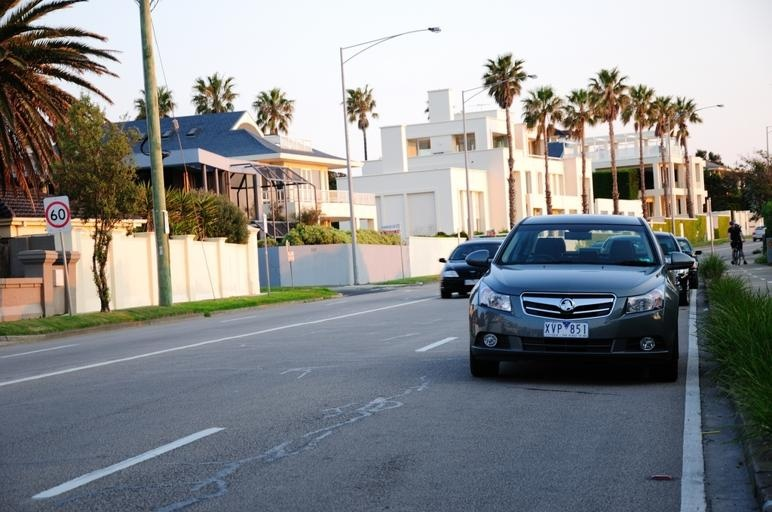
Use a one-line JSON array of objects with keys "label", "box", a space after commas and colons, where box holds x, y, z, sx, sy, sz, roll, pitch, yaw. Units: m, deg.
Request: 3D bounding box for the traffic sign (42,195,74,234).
[{"label": "traffic sign", "box": [-11.209, -1.482, 21.325, 0.973, 1.429, 0.381, -2, 1, 21]}]

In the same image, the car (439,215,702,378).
[{"label": "car", "box": [2.645, 0.328, 8.657, 1.928, 1.514, 3.320, -1, -6, 9]}]
